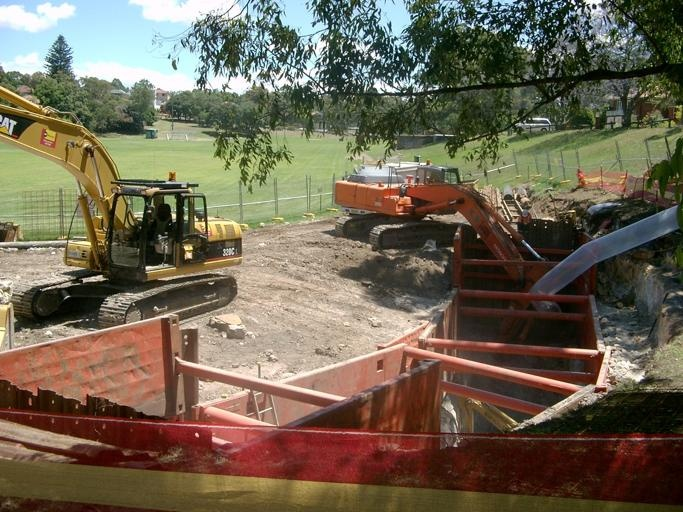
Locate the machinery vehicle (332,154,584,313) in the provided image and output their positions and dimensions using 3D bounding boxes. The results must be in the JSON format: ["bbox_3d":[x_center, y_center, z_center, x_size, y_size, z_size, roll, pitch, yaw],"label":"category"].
[{"bbox_3d":[3.111,-1.207,17.653,3.296,2.412,7.739,-14,27,-41],"label":"machinery vehicle"}]
